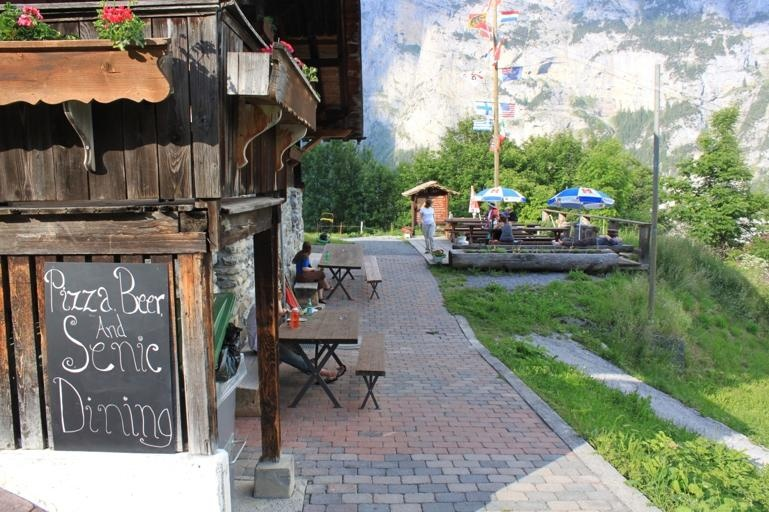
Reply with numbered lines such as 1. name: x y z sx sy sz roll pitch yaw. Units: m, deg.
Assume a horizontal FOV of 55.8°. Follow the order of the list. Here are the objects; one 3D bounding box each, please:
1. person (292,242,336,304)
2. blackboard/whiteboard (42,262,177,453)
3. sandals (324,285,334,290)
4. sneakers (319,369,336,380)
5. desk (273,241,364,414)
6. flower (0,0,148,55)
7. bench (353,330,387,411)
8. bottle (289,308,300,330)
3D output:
1. person: -1.521 0.318 15.628 0.869 1.262 1.271 2 20 -1
2. blackboard/whiteboard: -2.474 0.852 6.630 1.551 2.313 0.100 0 6 5
3. sandals: -1.260 0.723 16.512 0.115 0.136 0.362 2 4 4
4. sneakers: -0.848 1.759 10.819 0.197 0.098 0.282 3 11 -3
5. desk: -0.919 1.429 10.621 1.081 1.064 1.798 1 10 -1
6. flower: -2.708 -1.966 6.270 0.764 0.275 0.675 -7 22 -20
7. bench: -0.184 1.653 10.381 0.368 0.720 1.284 2 10 1
8. bottle: -1.273 0.881 10.286 0.198 0.388 0.208 0 8 0
